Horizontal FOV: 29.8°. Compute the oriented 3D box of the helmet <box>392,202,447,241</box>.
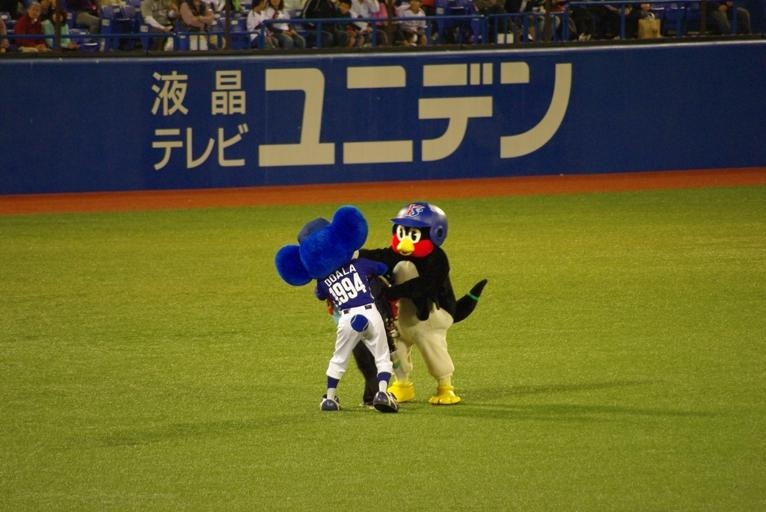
[{"bbox_3d":[0.365,-0.399,14.832,0.615,0.364,0.585,-1,17,-37],"label":"helmet"}]

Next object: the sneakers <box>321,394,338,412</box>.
[{"bbox_3d":[-0.526,1.521,14.673,0.142,0.115,0.275,1,-10,-3],"label":"sneakers"}]

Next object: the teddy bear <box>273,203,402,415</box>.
[{"bbox_3d":[-0.446,0.550,14.590,1.169,2.042,0.559,0,15,1],"label":"teddy bear"}]
